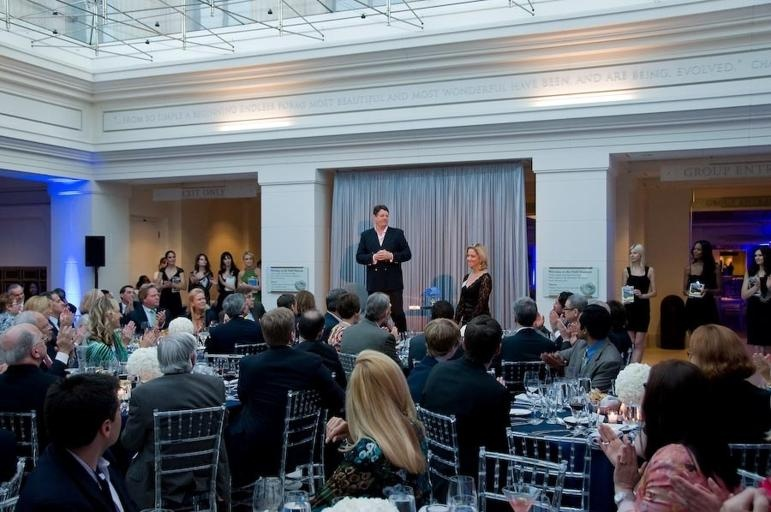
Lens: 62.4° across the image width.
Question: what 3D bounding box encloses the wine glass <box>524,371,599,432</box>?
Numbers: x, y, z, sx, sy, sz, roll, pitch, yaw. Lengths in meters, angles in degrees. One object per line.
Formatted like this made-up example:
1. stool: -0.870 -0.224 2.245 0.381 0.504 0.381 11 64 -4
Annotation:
1. wine glass: 1.392 1.145 5.014 0.372 0.162 0.467 1 -5 -38

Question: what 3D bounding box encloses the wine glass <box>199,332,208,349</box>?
1. wine glass: -2.227 1.038 7.799 0.139 0.226 0.136 -1 -15 -3

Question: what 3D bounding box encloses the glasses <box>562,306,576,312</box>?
1. glasses: 2.072 0.589 7.163 0.125 0.039 0.123 2 -3 16
